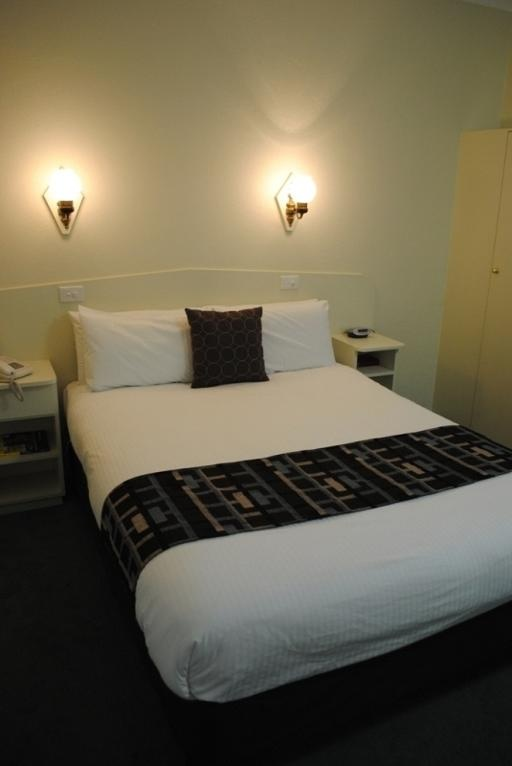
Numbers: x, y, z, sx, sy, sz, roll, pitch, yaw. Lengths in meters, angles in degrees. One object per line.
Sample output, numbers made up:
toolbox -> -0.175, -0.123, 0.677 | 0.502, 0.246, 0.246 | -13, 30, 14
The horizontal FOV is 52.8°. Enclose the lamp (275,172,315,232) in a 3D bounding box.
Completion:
lamp -> 0.258, -1.070, 3.049 | 0.288, 0.345, 0.205 | -6, 14, -15

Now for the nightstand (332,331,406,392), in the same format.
nightstand -> 0.743, -0.195, 3.387 | 0.321, 0.477, 0.399 | -11, 25, -26
